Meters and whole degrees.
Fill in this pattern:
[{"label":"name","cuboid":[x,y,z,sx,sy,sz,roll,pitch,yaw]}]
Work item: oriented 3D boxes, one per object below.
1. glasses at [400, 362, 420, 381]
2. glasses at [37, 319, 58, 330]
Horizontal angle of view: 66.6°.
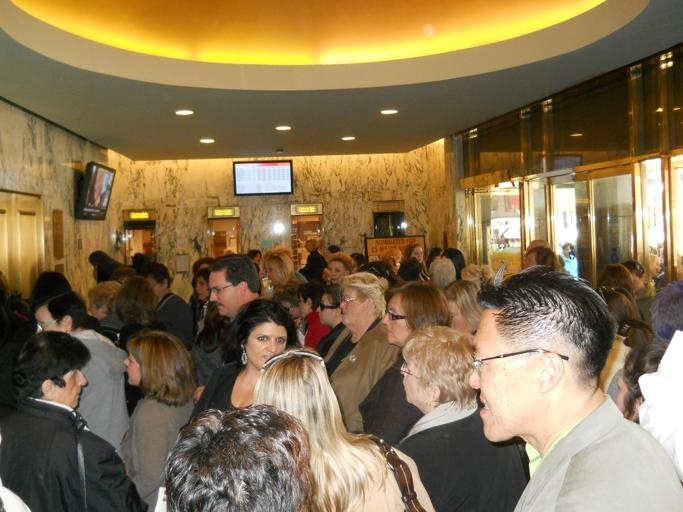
[{"label":"glasses","cuboid":[0.333,0.564,2.530,0.071,0.023,0.064,32,-5,-9]},{"label":"glasses","cuboid":[-2.068,0.488,3.646,0.104,0.121,0.035,-2,35,10]}]
